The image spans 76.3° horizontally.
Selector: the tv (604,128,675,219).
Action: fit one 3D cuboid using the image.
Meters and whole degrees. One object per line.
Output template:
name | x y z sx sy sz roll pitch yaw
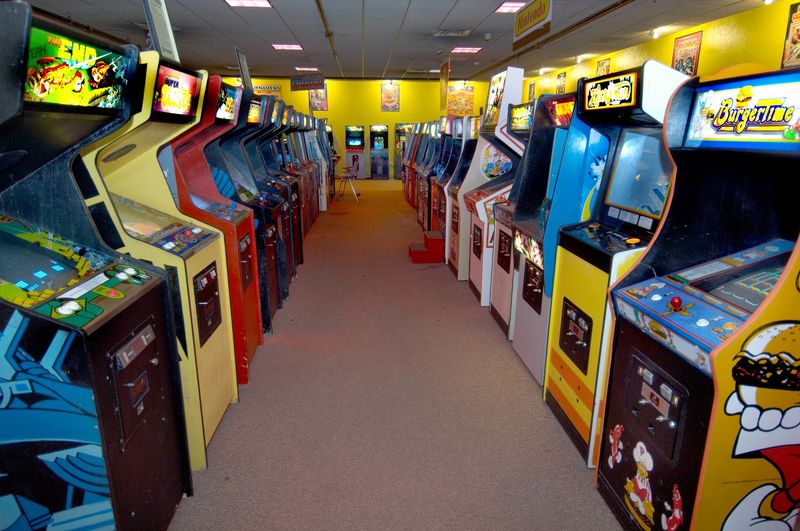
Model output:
tv | 1.442 -0.566 3.024 0.293 0.442 0.399 -16 26 -39
